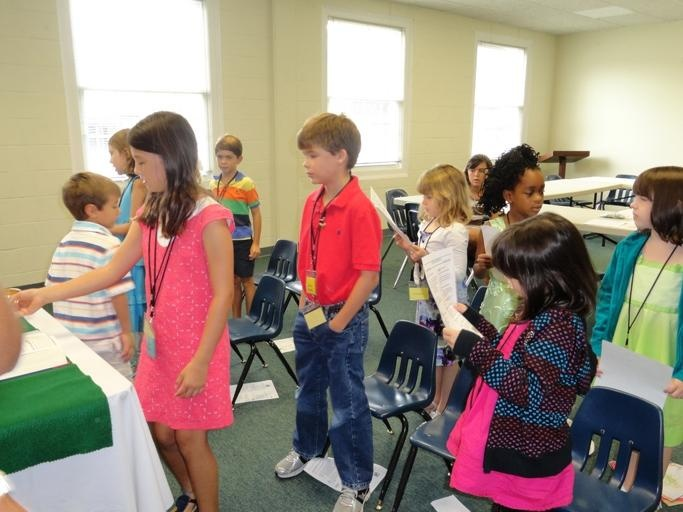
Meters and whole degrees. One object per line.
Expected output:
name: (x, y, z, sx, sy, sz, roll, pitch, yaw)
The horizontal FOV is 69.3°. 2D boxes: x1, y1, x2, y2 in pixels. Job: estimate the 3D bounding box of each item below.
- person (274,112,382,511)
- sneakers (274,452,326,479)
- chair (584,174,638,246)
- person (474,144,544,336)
person: (-0.041, 0.279, 2.290, 0.549, 1.805, 0.398, 14, 20, 43)
sneakers: (-0.222, 1.066, 2.554, 0.210, 0.110, 0.085, -5, 14, -31)
chair: (2.687, -0.520, 4.851, 0.399, 0.621, 0.392, 21, 27, 17)
person: (0.931, -0.018, 2.750, 0.362, 1.187, 0.339, -5, 12, -25)
